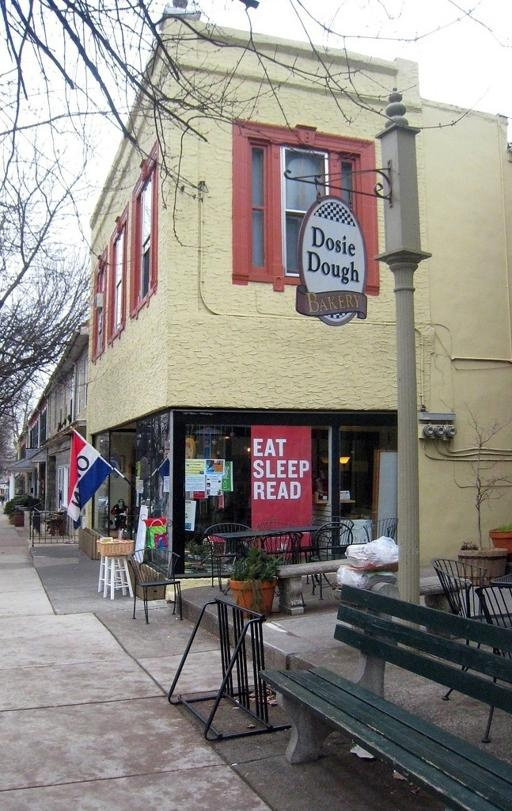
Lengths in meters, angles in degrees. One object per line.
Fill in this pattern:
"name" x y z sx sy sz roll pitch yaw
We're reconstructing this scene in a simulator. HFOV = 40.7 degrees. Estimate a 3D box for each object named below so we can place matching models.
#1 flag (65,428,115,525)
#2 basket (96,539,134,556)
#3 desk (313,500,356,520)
"flag" -2.853 1.192 11.785 0.620 1.521 1.040 1 -4 -14
"basket" -2.045 2.107 10.072 0.531 0.272 0.415 0 -4 -3
"desk" 1.196 1.656 11.029 0.487 0.528 0.342 4 -10 -24
